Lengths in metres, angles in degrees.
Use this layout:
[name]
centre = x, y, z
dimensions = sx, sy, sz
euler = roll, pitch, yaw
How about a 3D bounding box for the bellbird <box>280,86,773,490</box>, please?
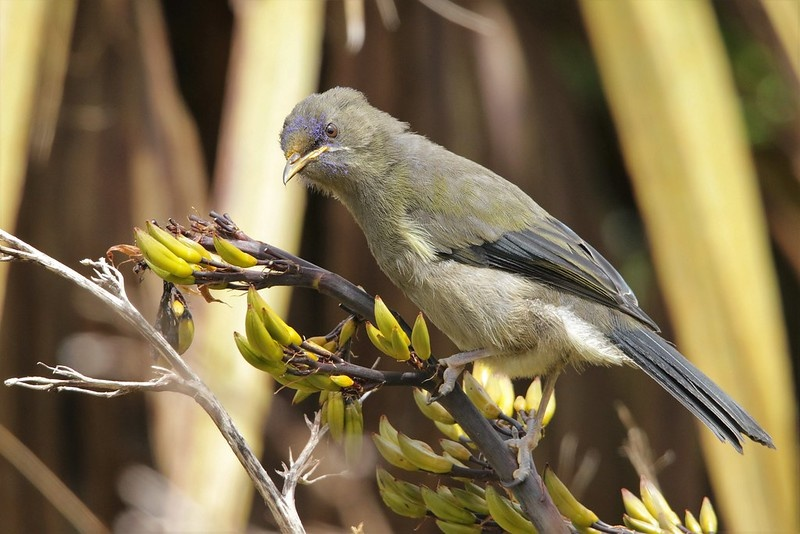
[bellbird]
centre = 0.479, 0.057, 4.676
dimensions = 2.422, 2.128, 1.014
euler = 5, -5, 6
